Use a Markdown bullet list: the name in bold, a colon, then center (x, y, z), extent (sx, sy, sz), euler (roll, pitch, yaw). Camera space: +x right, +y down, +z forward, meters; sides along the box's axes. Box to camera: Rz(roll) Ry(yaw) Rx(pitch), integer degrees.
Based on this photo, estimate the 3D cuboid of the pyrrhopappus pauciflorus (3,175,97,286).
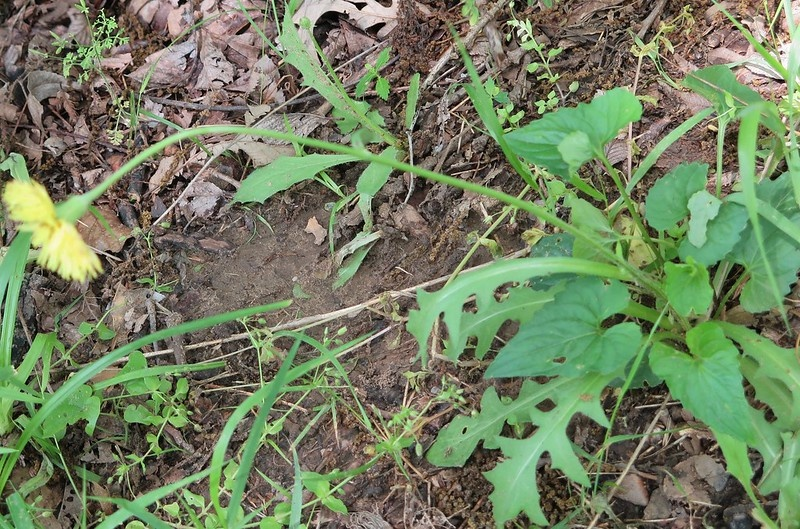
- **pyrrhopappus pauciflorus**: center (-1.104, -0.087, 2.013), extent (0.120, 0.316, 0.329), euler (-37, 72, 10)
